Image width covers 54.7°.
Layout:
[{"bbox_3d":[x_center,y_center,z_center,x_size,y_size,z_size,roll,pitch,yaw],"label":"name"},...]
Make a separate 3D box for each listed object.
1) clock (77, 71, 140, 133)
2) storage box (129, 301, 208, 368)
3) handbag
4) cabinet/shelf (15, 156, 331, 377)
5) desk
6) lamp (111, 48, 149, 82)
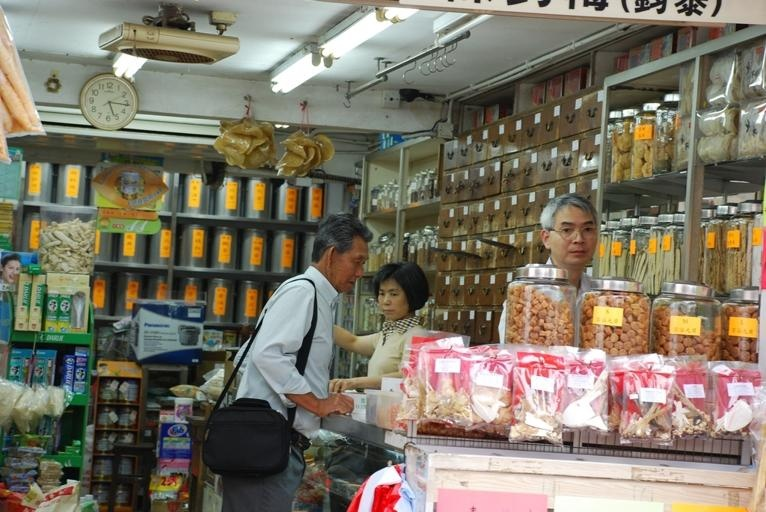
[{"bbox_3d":[-2.314,-1.283,6.202,0.489,0.417,0.446,1,7,-15],"label":"clock"},{"bbox_3d":[-2.078,0.710,7.222,0.703,0.583,0.673,0,3,-30],"label":"storage box"},{"bbox_3d":[-0.611,0.857,3.708,0.556,0.449,0.333,1,-10,1],"label":"handbag"},{"bbox_3d":[-2.253,0.080,7.285,2.669,2.131,0.749,5,-6,-18],"label":"cabinet/shelf"},{"bbox_3d":[0.673,0.740,2.512,1.204,0.281,0.184,1,-5,2],"label":"desk"},{"bbox_3d":[-1.964,-1.462,5.648,0.362,0.085,0.360,2,-20,-15],"label":"lamp"}]
